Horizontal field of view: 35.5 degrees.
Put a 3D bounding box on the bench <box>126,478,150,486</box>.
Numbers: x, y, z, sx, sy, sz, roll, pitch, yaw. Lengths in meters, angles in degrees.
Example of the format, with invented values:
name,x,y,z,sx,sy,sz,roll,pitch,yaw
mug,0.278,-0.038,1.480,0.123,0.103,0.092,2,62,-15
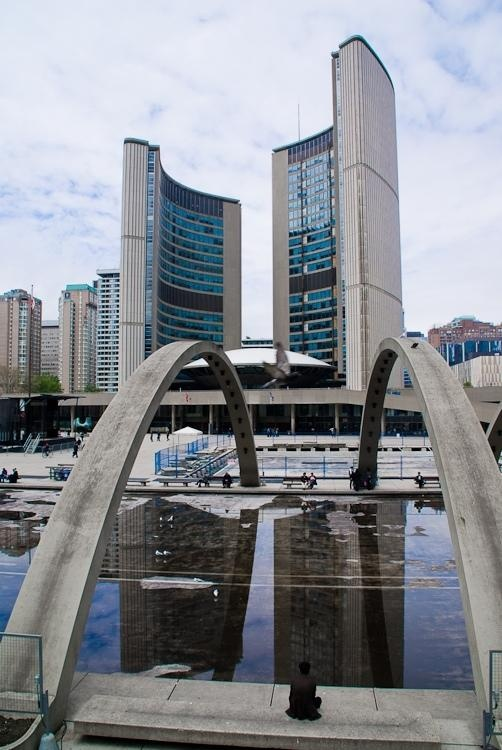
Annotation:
name,x,y,z,sx,sy,sz,roll,pitch,yaw
bench,-5.009,4.740,34.671,0.921,0.161,2.653,-1,1,-8

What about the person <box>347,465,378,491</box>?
name,x,y,z,sx,sy,sz,roll,pitch,yaw
person,4.549,4.274,32.033,1.062,0.807,1.362,-1,1,7

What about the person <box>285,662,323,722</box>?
name,x,y,z,sx,sy,sz,roll,pitch,yaw
person,0.674,4.087,10.182,0.554,0.843,0.566,1,-2,3

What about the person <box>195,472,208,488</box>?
name,x,y,z,sx,sy,sz,roll,pitch,yaw
person,-2.105,4.690,34.647,0.633,0.846,0.430,8,-12,-12

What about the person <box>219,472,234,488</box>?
name,x,y,z,sx,sy,sz,roll,pitch,yaw
person,-1.042,4.448,32.940,0.379,0.619,0.776,-1,1,-6

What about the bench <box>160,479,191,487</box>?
name,x,y,z,sx,sy,sz,roll,pitch,yaw
bench,-3.374,4.820,34.838,1.374,0.123,2.698,-1,1,-8

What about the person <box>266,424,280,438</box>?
name,x,y,z,sx,sy,sz,roll,pitch,yaw
person,2.208,5.649,75.265,1.331,0.704,0.958,-3,4,-43
